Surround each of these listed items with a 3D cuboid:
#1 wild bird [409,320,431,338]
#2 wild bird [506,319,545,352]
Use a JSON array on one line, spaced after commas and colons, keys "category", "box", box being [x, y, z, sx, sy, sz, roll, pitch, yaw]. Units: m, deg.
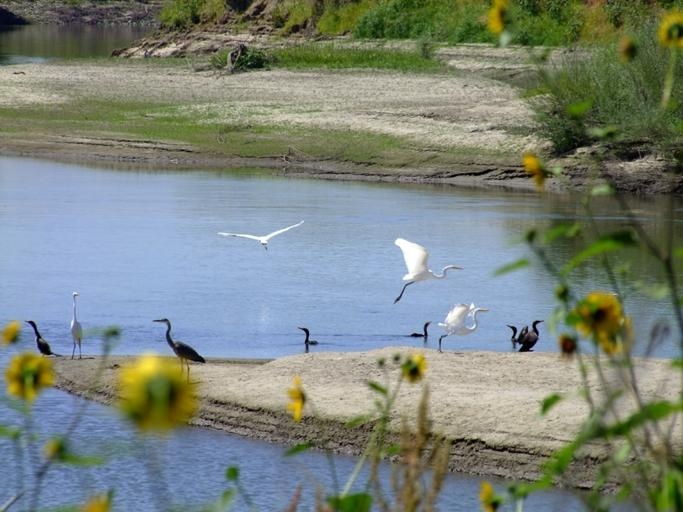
[{"category": "wild bird", "box": [1.367, 1.229, 23.717, 0.319, 0.318, 0.584, 8, 13, 5]}, {"category": "wild bird", "box": [3.003, 1.347, 22.528, 0.605, 0.348, 0.560, -18, -12, 10]}]
